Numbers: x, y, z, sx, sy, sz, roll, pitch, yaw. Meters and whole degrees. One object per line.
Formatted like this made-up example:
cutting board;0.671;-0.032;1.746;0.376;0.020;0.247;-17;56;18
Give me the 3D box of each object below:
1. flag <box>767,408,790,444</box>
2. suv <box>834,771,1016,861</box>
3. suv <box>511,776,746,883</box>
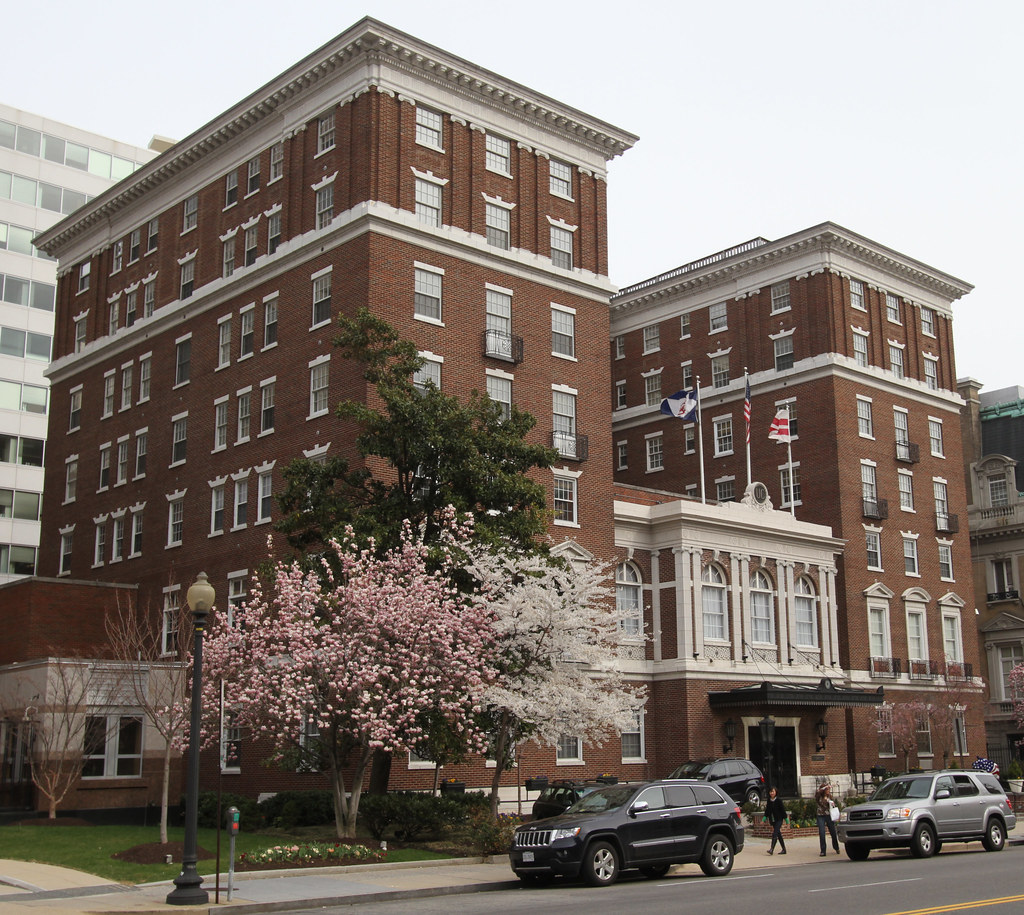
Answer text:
flag;12.771;-1.524;57.746;1.423;2.052;0.271;11;-10;-25
suv;10.266;8.891;30.032;3.751;1.802;2.197;19;-33;-35
suv;2.507;7.863;25.887;4.705;1.867;2.197;12;-25;-34
